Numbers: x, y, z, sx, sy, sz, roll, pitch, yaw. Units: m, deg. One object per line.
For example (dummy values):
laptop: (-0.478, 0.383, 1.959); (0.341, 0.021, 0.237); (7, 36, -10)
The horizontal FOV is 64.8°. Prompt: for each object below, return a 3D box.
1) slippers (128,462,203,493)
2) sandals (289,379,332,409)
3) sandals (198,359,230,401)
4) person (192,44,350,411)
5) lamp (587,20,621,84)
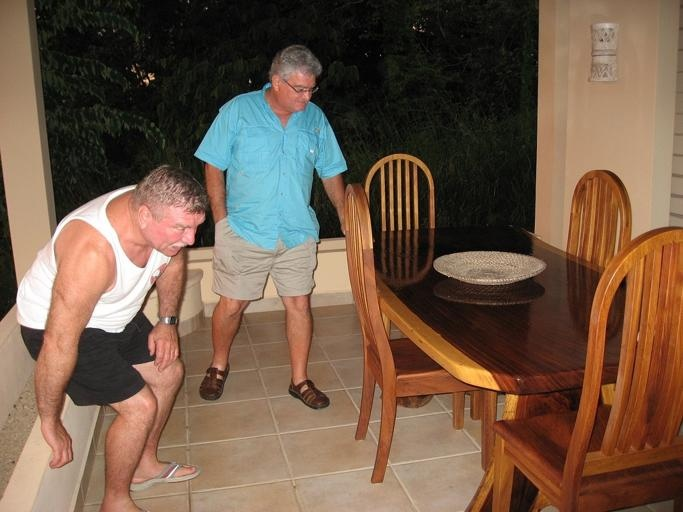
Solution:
slippers: (-0.807, 0.961, 2.428); (0.265, 0.081, 0.111); (-7, 15, -19)
sandals: (-0.169, 0.788, 3.067); (0.103, 0.106, 0.242); (-13, 18, -38)
sandals: (-0.747, 0.712, 3.190); (0.118, 0.123, 0.339); (7, 25, -1)
person: (-0.405, -0.052, 3.011); (0.930, 1.736, 0.462); (-5, 15, -6)
lamp: (1.733, -1.345, 3.547); (0.169, 0.364, 0.152); (0, 15, 13)
